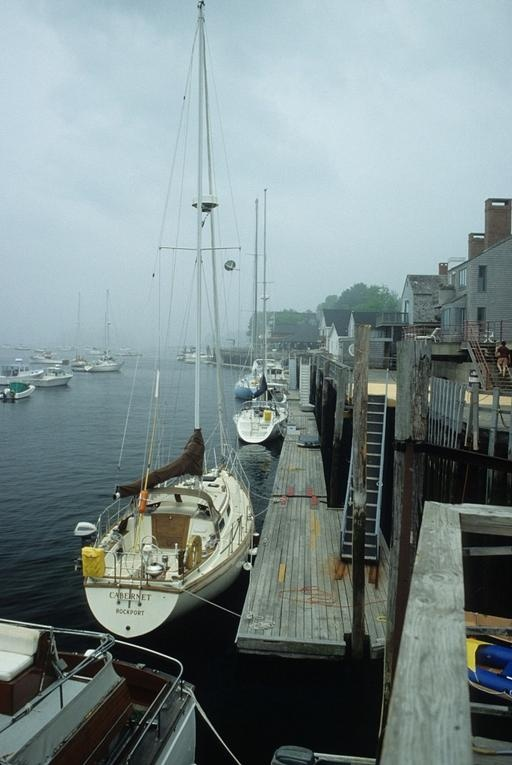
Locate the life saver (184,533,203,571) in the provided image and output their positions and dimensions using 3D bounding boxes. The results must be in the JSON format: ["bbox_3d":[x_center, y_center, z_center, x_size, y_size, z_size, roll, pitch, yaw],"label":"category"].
[{"bbox_3d":[-0.914,2.578,9.279,0.192,0.367,0.560,5,-5,9],"label":"life saver"}]
